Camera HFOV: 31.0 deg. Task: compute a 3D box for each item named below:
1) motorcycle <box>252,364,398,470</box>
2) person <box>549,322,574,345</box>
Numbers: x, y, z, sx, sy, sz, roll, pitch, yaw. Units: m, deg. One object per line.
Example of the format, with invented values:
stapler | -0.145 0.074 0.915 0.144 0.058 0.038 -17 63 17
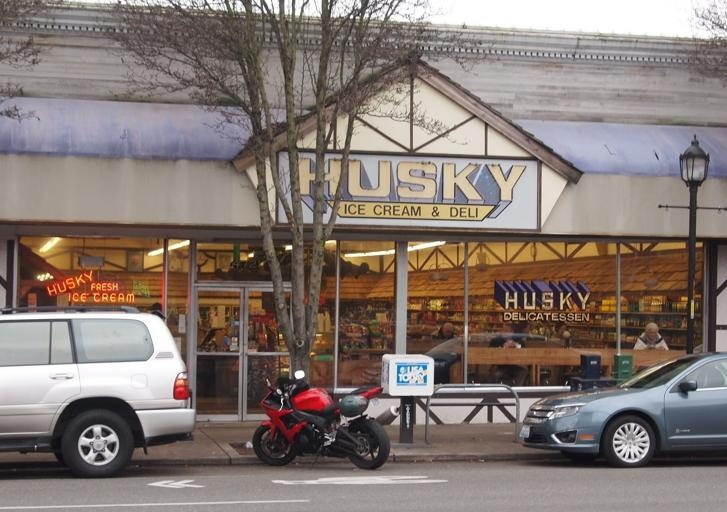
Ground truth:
motorcycle | -0.786 2.946 23.472 2.977 1.907 1.242 -1 -22 14
person | 4.291 1.715 28.432 0.454 0.741 0.482 0 -1 2
